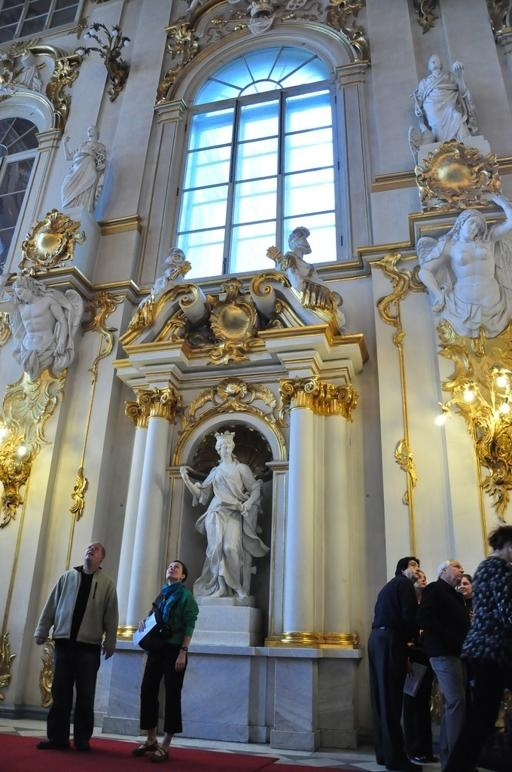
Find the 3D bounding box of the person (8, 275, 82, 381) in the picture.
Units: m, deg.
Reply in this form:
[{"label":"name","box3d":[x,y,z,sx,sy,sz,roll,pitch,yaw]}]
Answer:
[{"label":"person","box3d":[-2.217,-0.623,6.229,0.988,1.203,0.502,-4,-10,13]}]

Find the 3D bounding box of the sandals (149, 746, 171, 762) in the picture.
[{"label":"sandals","box3d":[-0.450,1.734,2.747,0.062,0.053,0.133,-1,-23,11]}]

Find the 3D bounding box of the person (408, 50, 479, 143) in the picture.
[{"label":"person","box3d":[1.836,-2.841,5.892,0.623,1.204,0.375,-13,-20,18]}]

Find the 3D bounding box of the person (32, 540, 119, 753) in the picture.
[{"label":"person","box3d":[-0.978,1.384,3.176,0.424,1.015,0.304,9,-23,-14]}]

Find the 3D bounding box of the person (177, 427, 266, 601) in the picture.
[{"label":"person","box3d":[-0.232,1.038,4.811,0.670,1.368,0.350,-7,-25,24]}]

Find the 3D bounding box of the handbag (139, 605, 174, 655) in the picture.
[{"label":"handbag","box3d":[-0.503,1.226,2.944,0.170,0.201,0.097,-14,-28,36]}]
